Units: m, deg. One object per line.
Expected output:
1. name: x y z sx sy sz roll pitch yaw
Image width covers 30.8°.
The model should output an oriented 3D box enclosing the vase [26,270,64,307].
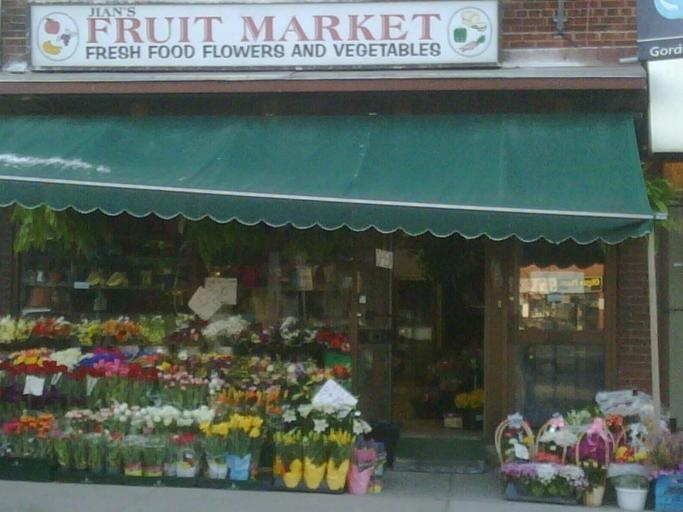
1. vase: -3.896 0.449 16.228 0.408 0.310 0.421 1 2 -15

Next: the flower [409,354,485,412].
1. flower: 1.487 1.778 17.104 0.756 0.538 0.845 -5 7 20
